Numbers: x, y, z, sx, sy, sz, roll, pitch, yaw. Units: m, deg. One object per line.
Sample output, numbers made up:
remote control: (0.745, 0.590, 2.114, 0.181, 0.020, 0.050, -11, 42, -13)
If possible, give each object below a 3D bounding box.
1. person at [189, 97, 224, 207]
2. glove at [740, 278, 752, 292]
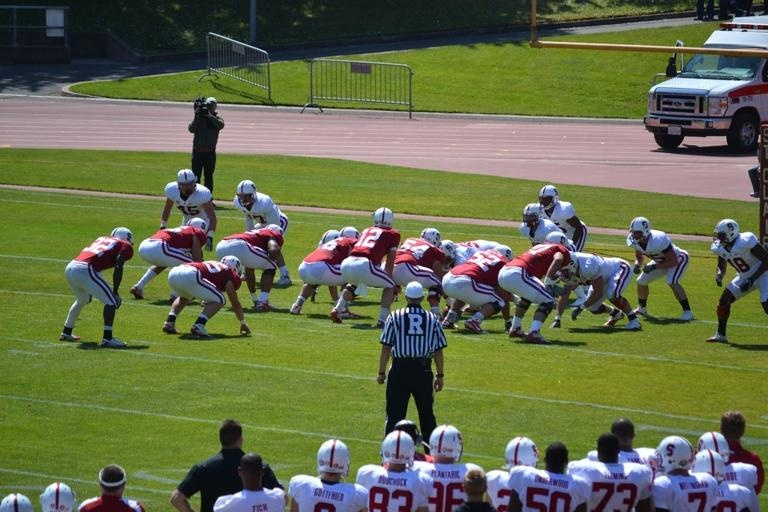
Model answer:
person: (-5.602, -3.224, 53.770, 1.179, 3.278, 1.162, 8, -8, -23)
glove: (9.339, 0.745, 44.285, 0.379, 0.324, 0.081, -1, 5, -25)
